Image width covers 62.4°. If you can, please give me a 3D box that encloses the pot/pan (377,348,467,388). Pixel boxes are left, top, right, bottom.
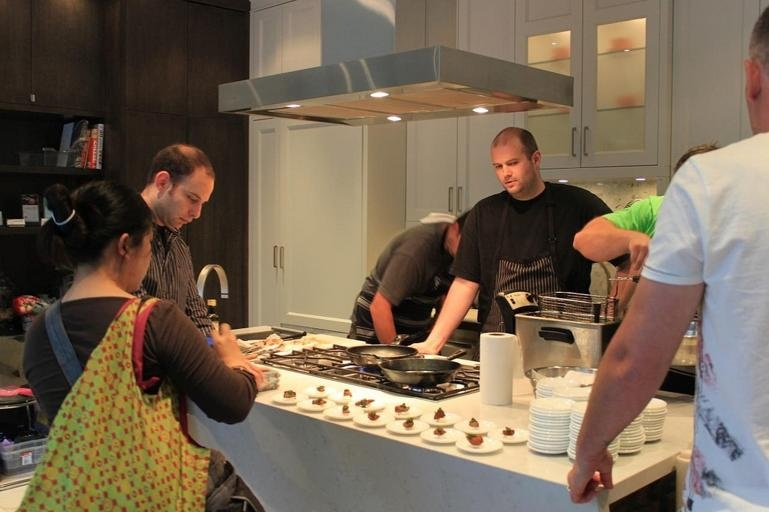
[{"bbox_3d":[0.149,0.492,2.722,0.336,0.096,0.278,-3,8,-6],"label":"pot/pan"}]

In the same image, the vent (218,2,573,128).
[{"bbox_3d":[0.051,-0.744,2.874,1.400,0.207,0.769,4,10,34],"label":"vent"}]

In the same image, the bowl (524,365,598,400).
[{"bbox_3d":[0.660,0.450,2.281,0.188,0.078,0.179,-2,-1,0],"label":"bowl"}]

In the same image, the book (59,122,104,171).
[{"bbox_3d":[-2.286,-0.823,4.805,0.378,0.363,0.124,-2,-7,34],"label":"book"}]
